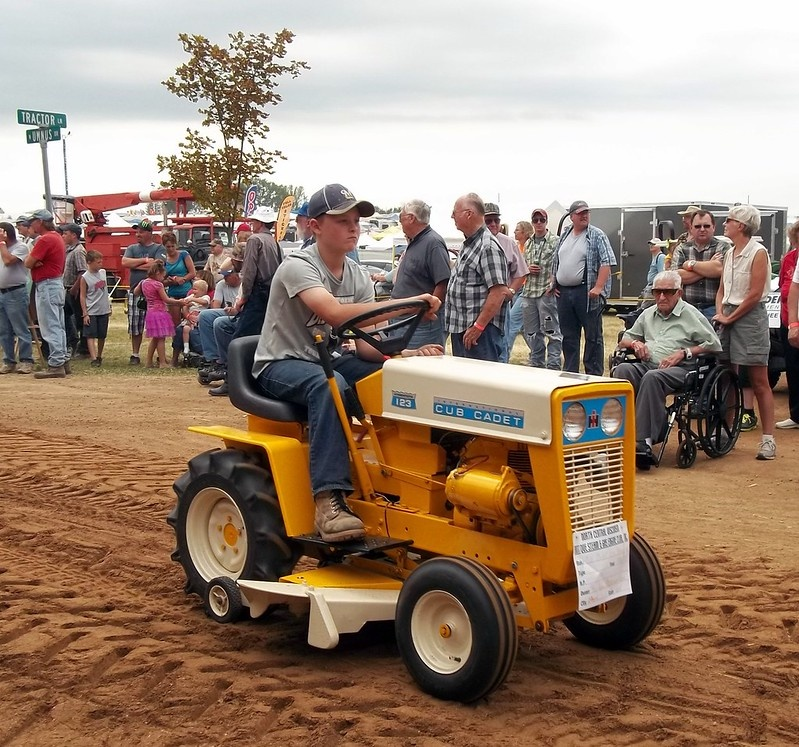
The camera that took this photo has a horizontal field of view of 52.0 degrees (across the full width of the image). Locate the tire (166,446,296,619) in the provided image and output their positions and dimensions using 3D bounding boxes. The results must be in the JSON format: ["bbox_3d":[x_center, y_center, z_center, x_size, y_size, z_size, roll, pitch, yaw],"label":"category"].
[{"bbox_3d":[-0.834,0.819,4.141,0.356,0.854,0.919,3,1,-38],"label":"tire"}]

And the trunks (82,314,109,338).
[{"bbox_3d":[-5.036,-0.782,13.488,0.207,0.448,0.380,19,7,37],"label":"trunks"}]

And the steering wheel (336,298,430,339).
[{"bbox_3d":[-0.089,-0.280,3.902,0.272,0.065,0.294,-14,-11,-3],"label":"steering wheel"}]

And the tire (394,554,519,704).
[{"bbox_3d":[0.218,1.038,3.345,0.200,0.564,0.535,-8,12,-44],"label":"tire"}]

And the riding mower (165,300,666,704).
[{"bbox_3d":[0.120,0.524,4.177,2.196,1.465,1.675,-3,-2,43],"label":"riding mower"}]

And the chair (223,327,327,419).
[{"bbox_3d":[-0.714,0.006,4.424,0.495,0.347,0.468,5,10,15],"label":"chair"}]

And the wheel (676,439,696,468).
[{"bbox_3d":[2.577,0.721,7.370,0.259,0.235,0.049,-9,15,-40],"label":"wheel"}]

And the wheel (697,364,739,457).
[{"bbox_3d":[2.929,0.324,7.543,0.127,0.811,0.896,5,8,39],"label":"wheel"}]

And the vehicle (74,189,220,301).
[{"bbox_3d":[-8.224,-4.208,26.484,6.683,3.131,2.128,8,1,33],"label":"vehicle"}]

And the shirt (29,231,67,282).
[{"bbox_3d":[-5.131,-1.701,11.896,0.457,0.744,0.411,-3,9,-22],"label":"shirt"}]

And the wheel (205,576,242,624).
[{"bbox_3d":[-0.884,1.141,4.140,0.252,0.231,0.086,-8,-2,43],"label":"wheel"}]

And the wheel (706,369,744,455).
[{"bbox_3d":[3.011,0.359,7.620,0.093,0.773,0.849,3,6,36],"label":"wheel"}]

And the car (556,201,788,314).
[{"bbox_3d":[7.366,-2.890,20.210,2.423,1.846,4.145,20,-7,-41],"label":"car"}]

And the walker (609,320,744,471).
[{"bbox_3d":[2.568,0.154,7.755,1.273,1.290,0.995,-6,10,-34],"label":"walker"}]
